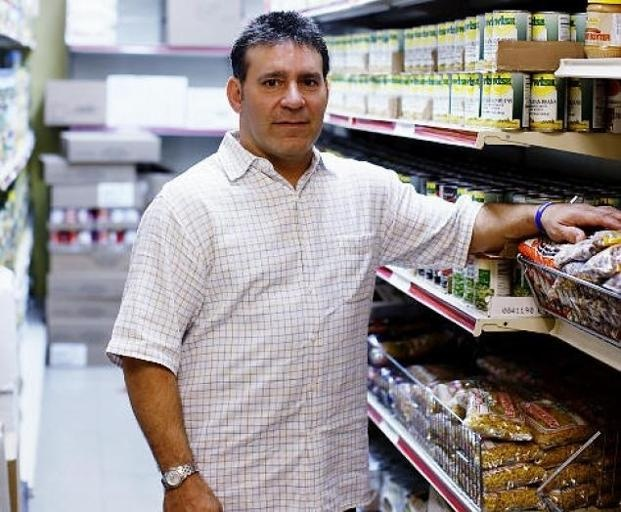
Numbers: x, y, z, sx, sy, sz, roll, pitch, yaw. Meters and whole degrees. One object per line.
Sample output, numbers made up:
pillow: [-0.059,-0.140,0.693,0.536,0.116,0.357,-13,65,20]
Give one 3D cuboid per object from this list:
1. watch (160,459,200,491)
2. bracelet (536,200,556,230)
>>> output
watch: [-0.389,0.613,2.375,0.094,0.066,0.104,1,-39,-39]
bracelet: [0.718,-0.132,2.451,0.019,0.075,0.075,12,-3,16]
